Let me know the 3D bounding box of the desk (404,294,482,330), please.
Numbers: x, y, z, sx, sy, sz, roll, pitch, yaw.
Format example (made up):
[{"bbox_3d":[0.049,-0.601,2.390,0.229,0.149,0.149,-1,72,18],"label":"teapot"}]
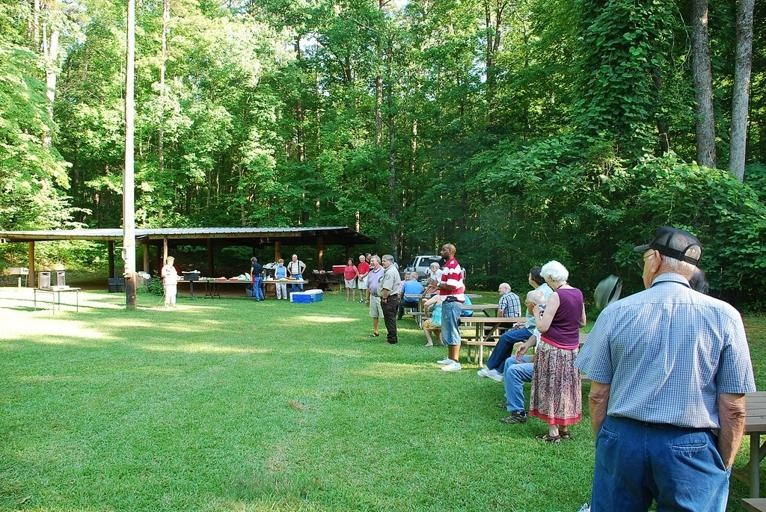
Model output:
[{"bbox_3d":[1.693,1.803,23.183,1.540,1.335,0.724,2,10,41],"label":"desk"}]

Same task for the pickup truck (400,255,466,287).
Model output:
[{"bbox_3d":[1.940,0.587,28.588,1.452,1.191,2.487,5,10,39],"label":"pickup truck"}]

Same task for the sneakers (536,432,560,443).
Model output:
[{"bbox_3d":[4.146,4.533,18.374,0.509,0.167,0.227,1,-3,22],"label":"sneakers"}]

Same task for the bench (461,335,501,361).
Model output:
[{"bbox_3d":[2.921,2.865,22.161,0.778,0.479,1.056,-1,-1,3],"label":"bench"}]

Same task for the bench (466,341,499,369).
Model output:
[{"bbox_3d":[2.889,2.965,22.101,0.874,0.569,0.826,0,-7,0],"label":"bench"}]

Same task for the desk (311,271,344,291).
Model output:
[{"bbox_3d":[-2.881,1.239,36.797,1.198,0.649,1.173,-1,2,-42],"label":"desk"}]

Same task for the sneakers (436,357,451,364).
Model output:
[{"bbox_3d":[1.773,3.087,21.519,0.427,0.157,0.152,-3,0,27],"label":"sneakers"}]

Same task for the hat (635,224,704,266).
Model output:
[{"bbox_3d":[6.244,-0.228,15.889,1.130,0.521,0.747,18,5,33],"label":"hat"}]

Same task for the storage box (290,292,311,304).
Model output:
[{"bbox_3d":[-3.544,1.828,32.213,0.927,0.454,0.749,0,-3,-4],"label":"storage box"}]

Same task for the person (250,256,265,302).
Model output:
[{"bbox_3d":[-5.766,1.047,33.789,0.555,2.001,1.527,0,-2,-10],"label":"person"}]

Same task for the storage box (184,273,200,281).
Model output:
[{"bbox_3d":[-8.865,0.979,34.092,0.685,0.383,0.515,1,-3,-16],"label":"storage box"}]

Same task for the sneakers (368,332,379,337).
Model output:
[{"bbox_3d":[-0.287,2.614,24.326,0.324,0.114,0.110,3,-4,0],"label":"sneakers"}]

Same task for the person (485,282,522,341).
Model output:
[{"bbox_3d":[3.692,1.569,22.045,0.935,1.492,0.745,-2,11,-17],"label":"person"}]

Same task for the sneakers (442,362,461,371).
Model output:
[{"bbox_3d":[2.010,3.194,21.125,0.603,0.230,0.213,0,-6,-6],"label":"sneakers"}]
